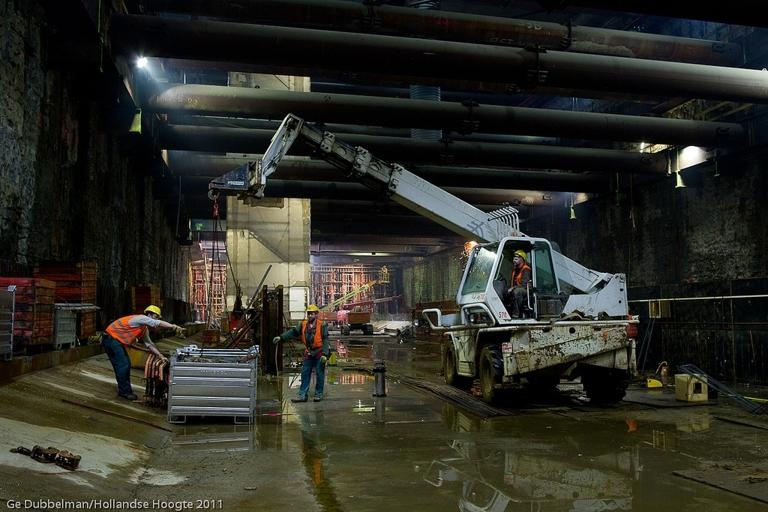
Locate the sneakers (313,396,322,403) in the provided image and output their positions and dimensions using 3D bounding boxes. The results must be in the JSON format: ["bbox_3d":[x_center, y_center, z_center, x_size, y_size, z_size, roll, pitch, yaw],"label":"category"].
[{"bbox_3d":[-1.749,3.714,18.644,0.100,0.113,0.272,-4,-16,10],"label":"sneakers"}]

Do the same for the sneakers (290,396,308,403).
[{"bbox_3d":[-2.240,3.724,18.643,0.390,0.150,0.173,4,-7,0],"label":"sneakers"}]

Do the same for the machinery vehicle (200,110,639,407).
[{"bbox_3d":[0.908,0.054,19.433,11.602,6.161,3.433,5,-4,-7],"label":"machinery vehicle"}]

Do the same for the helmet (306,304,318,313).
[{"bbox_3d":[-1.797,1.325,18.478,0.215,0.151,0.298,-3,-12,40],"label":"helmet"}]

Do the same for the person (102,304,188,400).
[{"bbox_3d":[-5.911,2.263,16.809,1.256,2.160,1.137,0,1,-21],"label":"person"}]

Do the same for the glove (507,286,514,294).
[{"bbox_3d":[3.261,0.866,18.590,0.104,0.146,0.345,0,1,-7],"label":"glove"}]

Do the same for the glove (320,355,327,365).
[{"bbox_3d":[-1.572,2.659,18.521,0.249,0.228,0.239,1,-27,-9],"label":"glove"}]

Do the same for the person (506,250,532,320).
[{"bbox_3d":[3.512,0.707,18.679,0.551,1.713,0.908,1,1,11],"label":"person"}]

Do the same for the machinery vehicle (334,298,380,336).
[{"bbox_3d":[-2.493,5.328,60.866,2.239,2.908,7.646,2,-6,-12],"label":"machinery vehicle"}]

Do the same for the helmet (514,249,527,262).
[{"bbox_3d":[3.615,-0.023,18.989,0.349,0.281,0.274,-3,12,-37],"label":"helmet"}]

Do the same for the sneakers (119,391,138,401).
[{"bbox_3d":[-5.958,3.247,16.686,0.457,0.187,0.181,3,-5,-3],"label":"sneakers"}]
